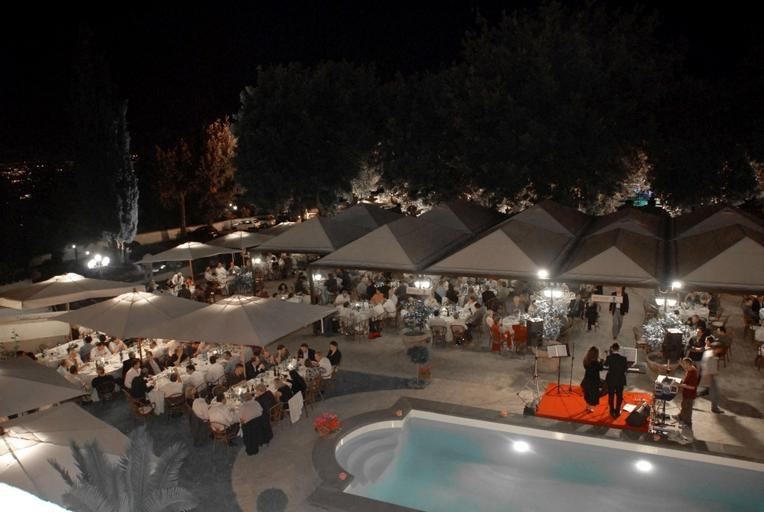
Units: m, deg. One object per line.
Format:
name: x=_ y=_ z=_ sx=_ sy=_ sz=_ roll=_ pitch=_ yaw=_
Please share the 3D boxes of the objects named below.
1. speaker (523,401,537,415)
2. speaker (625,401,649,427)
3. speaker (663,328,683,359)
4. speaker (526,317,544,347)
speaker: x=4.227 y=4.339 z=13.579 sx=0.288 sy=0.384 sz=0.383 roll=6 pitch=2 yaw=26
speaker: x=6.887 y=4.032 z=12.876 sx=0.571 sy=0.616 sz=1.077 roll=0 pitch=6 yaw=26
speaker: x=8.792 y=2.678 z=14.350 sx=0.528 sy=0.933 sz=0.328 roll=3 pitch=2 yaw=18
speaker: x=5.047 y=2.520 z=15.662 sx=0.550 sy=0.732 sz=0.409 roll=3 pitch=2 yaw=6
